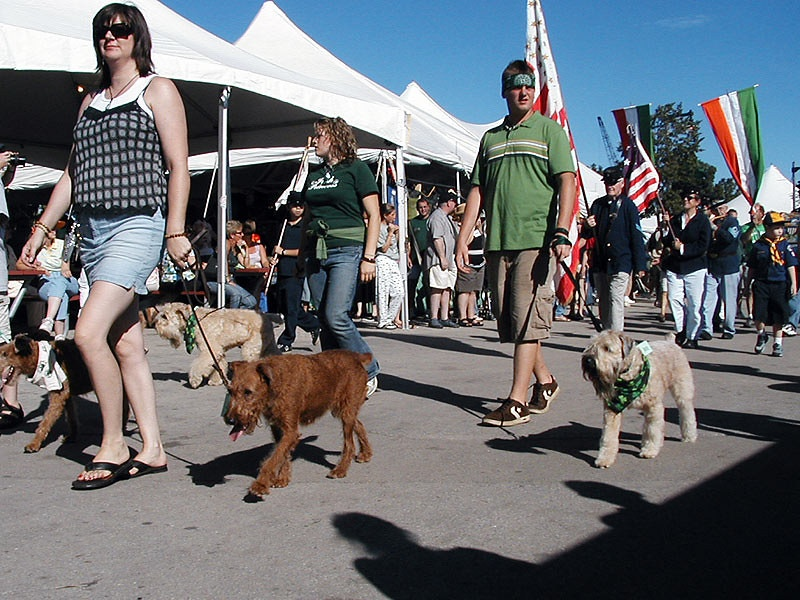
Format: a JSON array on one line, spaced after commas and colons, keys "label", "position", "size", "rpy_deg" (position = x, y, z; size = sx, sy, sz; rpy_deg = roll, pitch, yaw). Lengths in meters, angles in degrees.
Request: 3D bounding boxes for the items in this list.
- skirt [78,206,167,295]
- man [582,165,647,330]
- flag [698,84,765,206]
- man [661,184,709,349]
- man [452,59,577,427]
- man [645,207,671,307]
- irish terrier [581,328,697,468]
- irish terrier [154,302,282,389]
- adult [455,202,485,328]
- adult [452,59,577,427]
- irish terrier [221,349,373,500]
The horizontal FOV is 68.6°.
[{"label": "skirt", "position": [-1.848, -0.339, 3.664], "size": [0.342, 0.500, 0.281], "rpy_deg": [4, -1, 1]}, {"label": "man", "position": [2.789, -0.588, 7.751], "size": [0.785, 2.266, 0.680], "rpy_deg": [5, 12, 38]}, {"label": "flag", "position": [8.241, -3.806, 14.315], "size": [1.397, 3.052, 0.211], "rpy_deg": [-9, -21, 24]}, {"label": "man", "position": [4.462, -0.545, 9.225], "size": [0.734, 2.421, 0.766], "rpy_deg": [-5, 5, -43]}, {"label": "man", "position": [0.986, -0.476, 5.043], "size": [0.961, 3.051, 0.719], "rpy_deg": [1, 4, 17]}, {"label": "man", "position": [6.883, -1.003, 15.341], "size": [0.644, 2.600, 0.709], "rpy_deg": [-6, 10, -12]}, {"label": "irish terrier", "position": [1.712, 0.669, 4.200], "size": [0.940, 0.907, 0.356], "rpy_deg": [-3, 5, -35]}, {"label": "irish terrier", "position": [-1.939, 0.459, 6.311], "size": [1.338, 0.940, 0.457], "rpy_deg": [-1, 10, -23]}, {"label": "adult", "position": [1.497, -0.727, 12.084], "size": [0.717, 2.396, 0.777], "rpy_deg": [-4, 3, -40]}, {"label": "adult", "position": [0.987, -0.476, 5.041], "size": [0.959, 3.051, 0.719], "rpy_deg": [2, 4, 17]}, {"label": "irish terrier", "position": [-0.596, 0.748, 3.661], "size": [0.277, 0.815, 1.073], "rpy_deg": [4, 6, 44]}]
